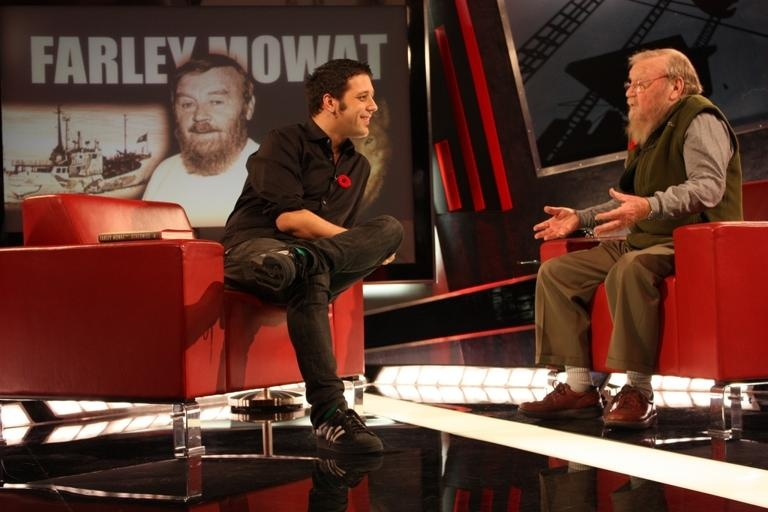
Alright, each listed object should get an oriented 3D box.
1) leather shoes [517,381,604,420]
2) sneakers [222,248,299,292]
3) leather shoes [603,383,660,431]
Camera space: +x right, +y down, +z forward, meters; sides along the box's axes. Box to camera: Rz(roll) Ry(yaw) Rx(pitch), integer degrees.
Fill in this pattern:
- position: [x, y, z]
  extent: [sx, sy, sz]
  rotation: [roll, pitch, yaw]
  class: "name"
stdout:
- position: [0.831, 0.694, 3.214]
  extent: [0.433, 0.165, 0.144]
  rotation: [1, -10, 1]
  class: "leather shoes"
- position: [-0.461, 0.063, 2.543]
  extent: [0.283, 0.098, 0.183]
  rotation: [9, 5, 38]
  class: "sneakers"
- position: [1.053, 0.649, 2.916]
  extent: [0.134, 0.114, 0.270]
  rotation: [-5, -9, 34]
  class: "leather shoes"
